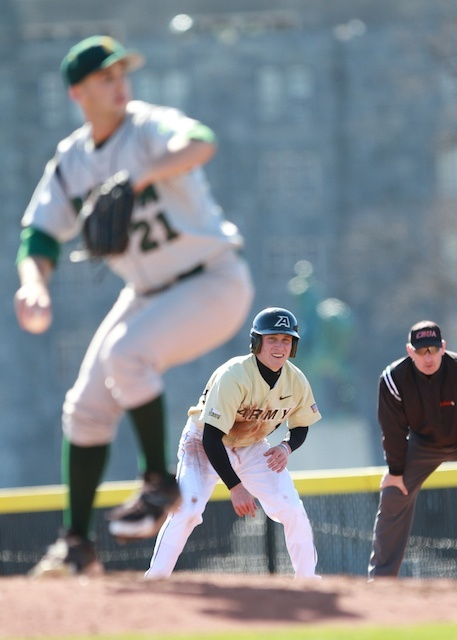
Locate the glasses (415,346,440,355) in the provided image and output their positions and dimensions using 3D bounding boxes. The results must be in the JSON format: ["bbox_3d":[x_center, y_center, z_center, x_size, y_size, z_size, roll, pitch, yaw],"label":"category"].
[{"bbox_3d":[0.866,0.139,5.014,0.059,0.018,0.053,-6,-27,5],"label":"glasses"}]

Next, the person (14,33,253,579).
[{"bbox_3d":[-0.359,-0.031,3.829,0.794,1.844,0.390,0,3,23],"label":"person"}]

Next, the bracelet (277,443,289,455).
[{"bbox_3d":[0.222,0.548,4.817,0.017,0.044,0.040,-41,-13,-5],"label":"bracelet"}]

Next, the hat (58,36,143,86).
[{"bbox_3d":[-0.449,-0.870,3.818,0.249,0.116,0.169,-25,13,8],"label":"hat"}]

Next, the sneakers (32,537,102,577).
[{"bbox_3d":[-0.579,0.815,3.935,0.241,0.093,0.131,-3,-9,31],"label":"sneakers"}]

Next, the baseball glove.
[{"bbox_3d":[-0.396,-0.344,3.703,0.096,0.252,0.201,6,5,-39],"label":"baseball glove"}]

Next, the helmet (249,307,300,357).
[{"bbox_3d":[0.181,0.058,4.679,0.196,0.201,0.162,-1,2,1],"label":"helmet"}]

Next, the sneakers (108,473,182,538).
[{"bbox_3d":[-0.277,0.598,3.684,0.229,0.204,0.088,-1,2,-3],"label":"sneakers"}]

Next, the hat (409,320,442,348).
[{"bbox_3d":[0.873,0.069,5.088,0.141,0.117,0.182,0,2,4],"label":"hat"}]
